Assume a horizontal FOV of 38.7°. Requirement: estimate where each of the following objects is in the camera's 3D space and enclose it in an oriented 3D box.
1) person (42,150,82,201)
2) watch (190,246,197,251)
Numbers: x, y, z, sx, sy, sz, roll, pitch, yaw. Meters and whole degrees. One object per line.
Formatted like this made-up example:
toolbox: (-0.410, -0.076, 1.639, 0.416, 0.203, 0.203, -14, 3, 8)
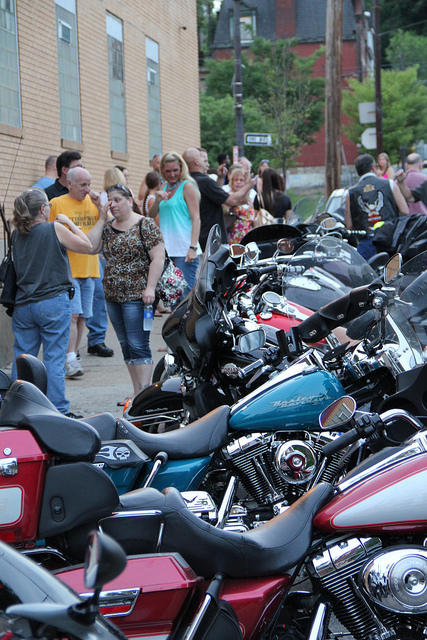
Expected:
person: (-1.647, -1.709, 7.045, 0.543, 0.665, 0.709, -5, 17, -12)
watch: (-0.209, -0.774, 6.677, 0.050, 0.028, 0.051, 1, -11, 42)
